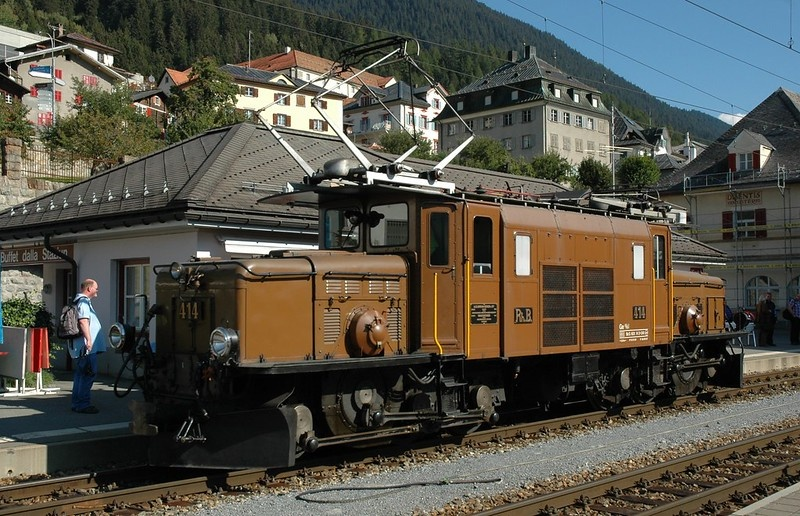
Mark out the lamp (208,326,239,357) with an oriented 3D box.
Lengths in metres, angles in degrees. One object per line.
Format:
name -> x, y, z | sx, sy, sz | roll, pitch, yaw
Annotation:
lamp -> -3.832, 1.741, 19.916 | 0.758, 0.803, 0.542 | 6, 3, 40

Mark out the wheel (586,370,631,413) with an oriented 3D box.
wheel -> 5.634, 3.569, 24.619 | 1.140, 1.212, 0.547 | -3, 8, -30

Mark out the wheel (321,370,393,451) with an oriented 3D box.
wheel -> -1.113, 3.361, 20.721 | 1.497, 1.602, 0.453 | 4, -3, -31

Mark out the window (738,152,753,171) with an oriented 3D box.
window -> 20.460, -5.709, 53.775 | 1.054, 1.316, 0.092 | 0, 4, 42

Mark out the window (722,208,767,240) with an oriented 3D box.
window -> 19.952, -1.949, 52.372 | 0.175, 1.317, 1.671 | 12, -15, -33

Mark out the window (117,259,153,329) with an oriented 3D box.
window -> -7.721, 1.062, 26.584 | 1.859, 2.889, 0.183 | -2, -3, 41

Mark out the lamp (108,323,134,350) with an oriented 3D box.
lamp -> -6.528, 1.847, 21.338 | 0.524, 0.823, 0.642 | 7, -9, -40

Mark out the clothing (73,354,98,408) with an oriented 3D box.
clothing -> -8.065, 3.126, 23.155 | 0.607, 1.400, 0.611 | -2, 15, -8

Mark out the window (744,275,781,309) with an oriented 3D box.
window -> 19.377, 1.725, 48.480 | 0.124, 1.709, 1.709 | 4, -5, -31

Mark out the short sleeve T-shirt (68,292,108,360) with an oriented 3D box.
short sleeve T-shirt -> -8.151, 1.673, 23.629 | 0.749, 1.444, 1.143 | 2, -6, -18

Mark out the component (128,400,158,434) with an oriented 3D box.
component -> -5.828, 3.586, 20.564 | 0.752, 0.702, 0.279 | -1, 1, 42

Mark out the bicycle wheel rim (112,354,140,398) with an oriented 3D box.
bicycle wheel rim -> -7.218, 3.130, 24.033 | 0.325, 1.413, 0.914 | 16, -9, -34
